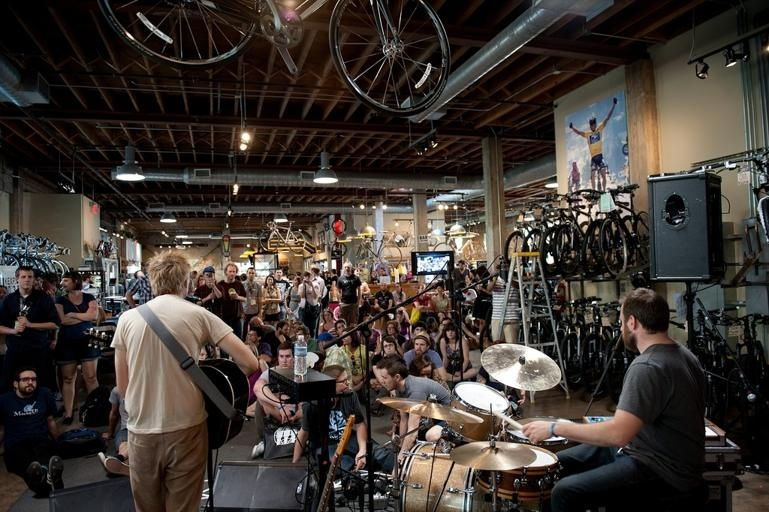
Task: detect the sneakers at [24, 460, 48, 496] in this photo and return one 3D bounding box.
[{"bbox_3d":[-3.633,2.329,5.999,0.157,0.467,0.192,-16,23,-28],"label":"sneakers"}]

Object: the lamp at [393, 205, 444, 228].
[{"bbox_3d":[1.178,-1.312,19.125,0.929,0.630,0.499,1,-7,-12],"label":"lamp"}]

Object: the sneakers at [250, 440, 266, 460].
[{"bbox_3d":[-1.487,2.293,6.780,0.111,0.135,0.299,5,-9,-11],"label":"sneakers"}]

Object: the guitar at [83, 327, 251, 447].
[{"bbox_3d":[-1.723,0.961,4.584,0.329,1.287,0.700,-28,6,23],"label":"guitar"}]

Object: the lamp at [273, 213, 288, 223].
[{"bbox_3d":[-3.567,-1.273,19.693,0.592,0.306,0.594,0,-2,8],"label":"lamp"}]

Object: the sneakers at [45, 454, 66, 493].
[{"bbox_3d":[-3.434,2.270,5.964,0.135,0.402,0.155,-2,14,-40],"label":"sneakers"}]

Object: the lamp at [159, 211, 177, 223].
[{"bbox_3d":[-6.706,-1.198,17.712,0.625,0.344,0.637,-1,-1,44],"label":"lamp"}]

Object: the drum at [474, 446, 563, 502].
[{"bbox_3d":[1.166,1.899,4.884,0.511,0.184,0.514,-1,-1,0],"label":"drum"}]

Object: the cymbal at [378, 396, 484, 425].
[{"bbox_3d":[0.446,1.380,5.085,0.439,0.101,0.437,15,-7,-9],"label":"cymbal"}]

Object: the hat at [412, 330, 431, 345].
[{"bbox_3d":[0.527,1.144,7.998,0.179,0.134,0.219,3,-1,11],"label":"hat"}]

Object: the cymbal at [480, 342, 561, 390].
[{"bbox_3d":[1.276,1.041,5.407,0.661,0.675,0.141,5,31,19],"label":"cymbal"}]

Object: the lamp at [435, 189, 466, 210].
[{"bbox_3d":[2.006,-1.761,18.013,0.376,0.501,1.534,-3,2,-10],"label":"lamp"}]

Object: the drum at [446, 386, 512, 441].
[{"bbox_3d":[0.874,1.533,5.373,0.528,0.388,0.528,5,25,-2],"label":"drum"}]
